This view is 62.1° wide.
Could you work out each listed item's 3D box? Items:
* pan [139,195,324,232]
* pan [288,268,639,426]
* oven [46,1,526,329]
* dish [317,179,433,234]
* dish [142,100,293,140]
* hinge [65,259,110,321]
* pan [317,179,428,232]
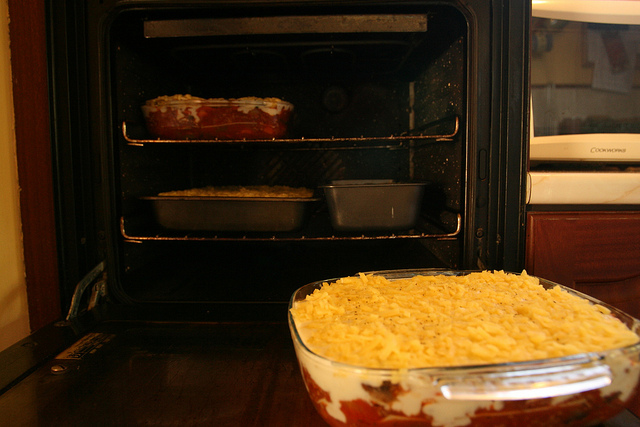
[{"bbox_3d":[-0.340,0.020,2.134,0.740,0.162,0.453,-1,-1,1],"label":"pan"},{"bbox_3d":[0.326,0.345,1.471,0.605,0.251,0.456,0,10,-14],"label":"pan"},{"bbox_3d":[-0.136,-0.220,2.132,1.820,1.272,0.978,-1,5,-3],"label":"oven"},{"bbox_3d":[0.214,-0.044,2.063,0.349,0.192,0.339,0,7,0],"label":"dish"},{"bbox_3d":[-0.385,-0.328,2.059,0.636,0.144,0.337,-2,0,-5],"label":"dish"},{"bbox_3d":[-0.743,0.240,1.708,0.038,0.180,0.131,10,3,37],"label":"hinge"},{"bbox_3d":[0.191,-0.043,1.919,0.446,0.195,0.301,-1,6,-1],"label":"pan"}]
